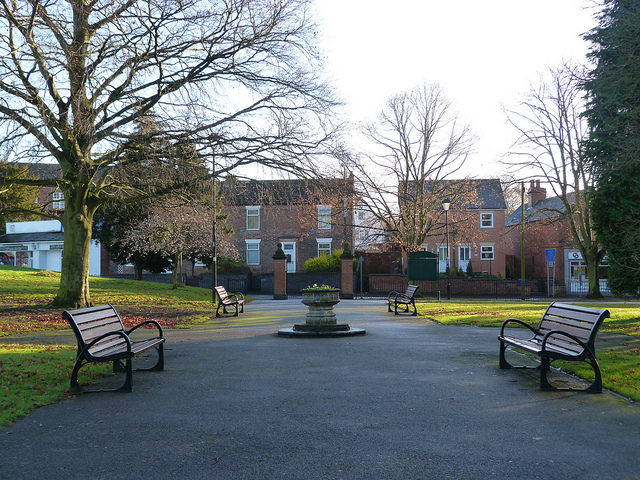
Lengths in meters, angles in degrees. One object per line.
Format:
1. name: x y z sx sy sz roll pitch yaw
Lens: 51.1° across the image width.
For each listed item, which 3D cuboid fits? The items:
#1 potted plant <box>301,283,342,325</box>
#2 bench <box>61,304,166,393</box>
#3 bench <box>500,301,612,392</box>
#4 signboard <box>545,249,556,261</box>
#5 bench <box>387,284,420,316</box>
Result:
1. potted plant: 0.014 1.993 20.268 1.121 1.254 1.144 -4 -6 36
2. bench: -4.179 2.163 13.770 1.670 1.635 2.515 -2 -4 -9
3. bench: 4.727 2.168 13.890 1.781 1.653 2.840 -3 -4 5
4. signboard: 14.793 0.963 43.154 0.767 0.879 0.114 0 -5 1
5. bench: 3.348 2.471 27.342 1.083 1.144 4.013 -3 -4 6
